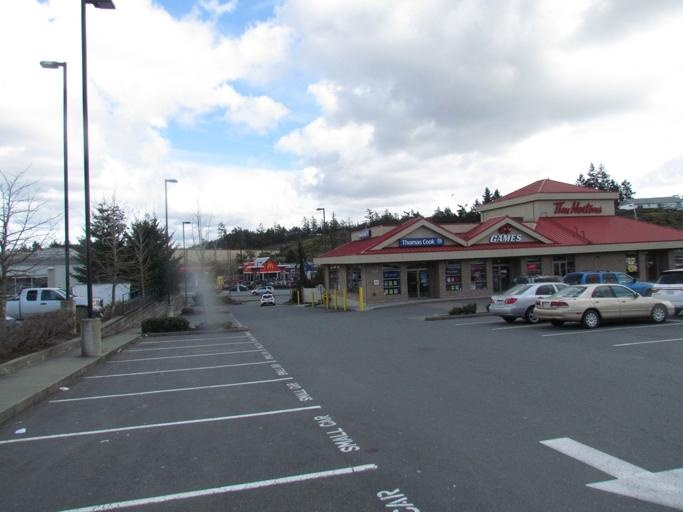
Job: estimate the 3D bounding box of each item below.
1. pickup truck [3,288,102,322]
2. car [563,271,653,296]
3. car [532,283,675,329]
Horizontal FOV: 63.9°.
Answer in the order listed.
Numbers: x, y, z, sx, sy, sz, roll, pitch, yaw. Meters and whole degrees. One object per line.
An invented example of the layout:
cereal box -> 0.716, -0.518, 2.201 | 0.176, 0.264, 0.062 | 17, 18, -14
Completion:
pickup truck -> -12.778, 2.169, 24.079 | 3.398, 1.221, 1.607 | -2, 0, -7
car -> 11.827, 1.033, 23.999 | 3.581, 1.346, 1.656 | -4, 4, -12
car -> 9.168, 1.736, 19.322 | 4.354, 1.476, 0.900 | -3, 5, -9
